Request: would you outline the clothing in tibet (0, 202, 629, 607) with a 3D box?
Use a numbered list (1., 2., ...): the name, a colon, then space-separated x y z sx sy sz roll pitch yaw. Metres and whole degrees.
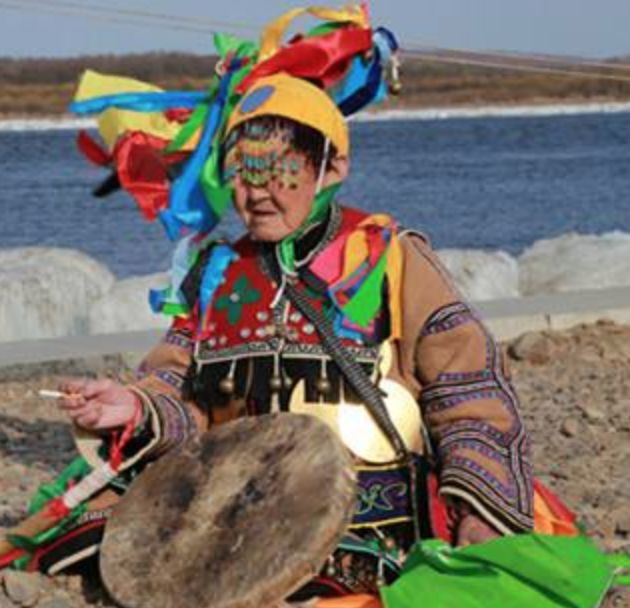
1. clothing in tibet: 0.175 0.283 6.619 1.990 1.447 1.257 1 86 21
